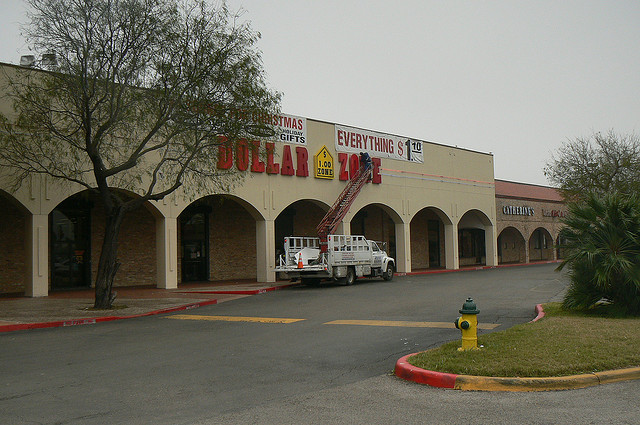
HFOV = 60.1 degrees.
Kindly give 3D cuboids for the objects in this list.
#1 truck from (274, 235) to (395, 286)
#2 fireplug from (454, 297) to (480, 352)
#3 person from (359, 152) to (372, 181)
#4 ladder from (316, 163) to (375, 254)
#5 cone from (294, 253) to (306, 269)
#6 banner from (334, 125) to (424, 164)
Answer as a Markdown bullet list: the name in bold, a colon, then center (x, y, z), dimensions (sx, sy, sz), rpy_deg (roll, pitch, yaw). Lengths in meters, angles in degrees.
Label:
- **truck**: center (1.071, 2.787, 32.396), dimensions (2.929, 2.520, 6.572), rpy_deg (-3, -2, 42)
- **fireplug**: center (3.547, 2.695, 13.079), dimensions (0.547, 1.208, 0.564), rpy_deg (0, -3, 19)
- **person**: center (3.314, -3.313, 39.265), dimensions (0.906, 1.964, 0.383), rpy_deg (-1, 0, -8)
- **ladder**: center (1.572, -0.484, 36.876), dimensions (0.805, 7.849, 1.200), rpy_deg (-5, -49, 31)
- **cone**: center (-1.067, 2.700, 30.160), dimensions (0.505, 0.737, 0.500), rpy_deg (8, -9, -39)
- **banner**: center (4.472, -4.961, 40.672), dimensions (9.118, 2.608, 0.172), rpy_deg (-1, 0, -40)
